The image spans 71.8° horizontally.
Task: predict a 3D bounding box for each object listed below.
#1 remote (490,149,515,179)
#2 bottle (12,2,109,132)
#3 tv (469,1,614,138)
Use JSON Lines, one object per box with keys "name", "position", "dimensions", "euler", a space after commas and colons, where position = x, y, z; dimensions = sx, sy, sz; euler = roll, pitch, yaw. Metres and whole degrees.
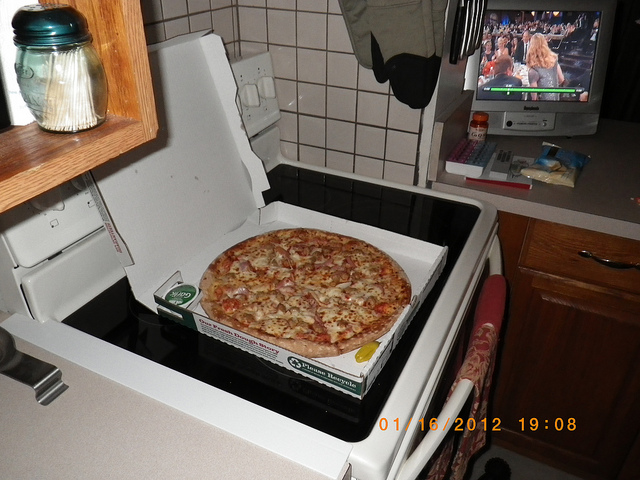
{"name": "remote", "position": [0.571, -0.238, 1.391], "dimensions": [0.038, 0.026, 0.128], "euler": [11, 49, 29]}
{"name": "bottle", "position": [-0.328, -0.216, 0.561], "dimensions": [0.083, 0.140, 0.067], "euler": [6, 36, 11]}
{"name": "tv", "position": [0.742, -0.597, 1.505], "dimensions": [0.365, 0.370, 0.201], "euler": [1, 28, 2]}
